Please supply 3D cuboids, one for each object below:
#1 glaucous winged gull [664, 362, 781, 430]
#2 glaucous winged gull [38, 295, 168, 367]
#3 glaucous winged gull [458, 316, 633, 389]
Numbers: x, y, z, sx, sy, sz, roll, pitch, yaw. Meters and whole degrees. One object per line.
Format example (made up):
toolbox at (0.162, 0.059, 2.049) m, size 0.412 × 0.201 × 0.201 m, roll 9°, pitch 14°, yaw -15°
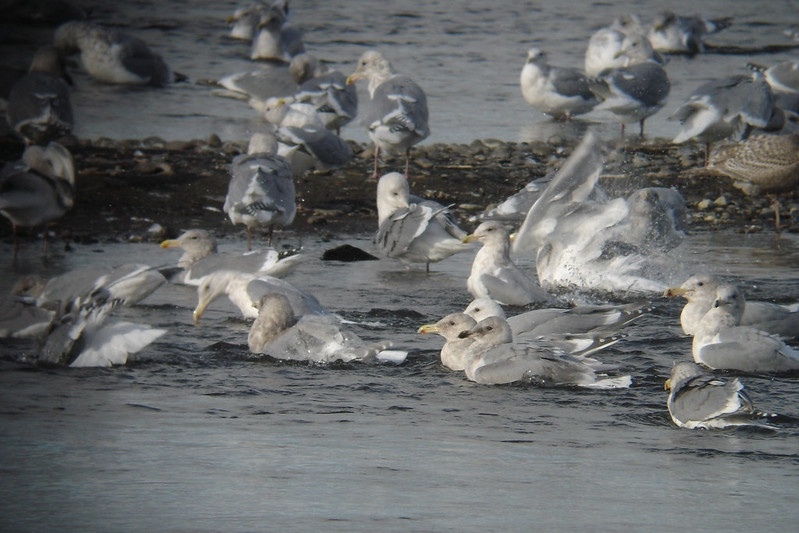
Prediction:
glaucous winged gull at (3.262, 1.355, 15.037) m, size 0.798 × 0.673 × 1.533 m, roll -1°, pitch -1°, yaw -42°
glaucous winged gull at (-3.181, 0.730, 15.843) m, size 1.210 × 0.645 × 0.503 m, roll 2°, pitch 29°, yaw -8°
glaucous winged gull at (1.597, 0.969, 16.046) m, size 1.799 × 0.706 × 0.729 m, roll 2°, pitch -5°, yaw 7°
